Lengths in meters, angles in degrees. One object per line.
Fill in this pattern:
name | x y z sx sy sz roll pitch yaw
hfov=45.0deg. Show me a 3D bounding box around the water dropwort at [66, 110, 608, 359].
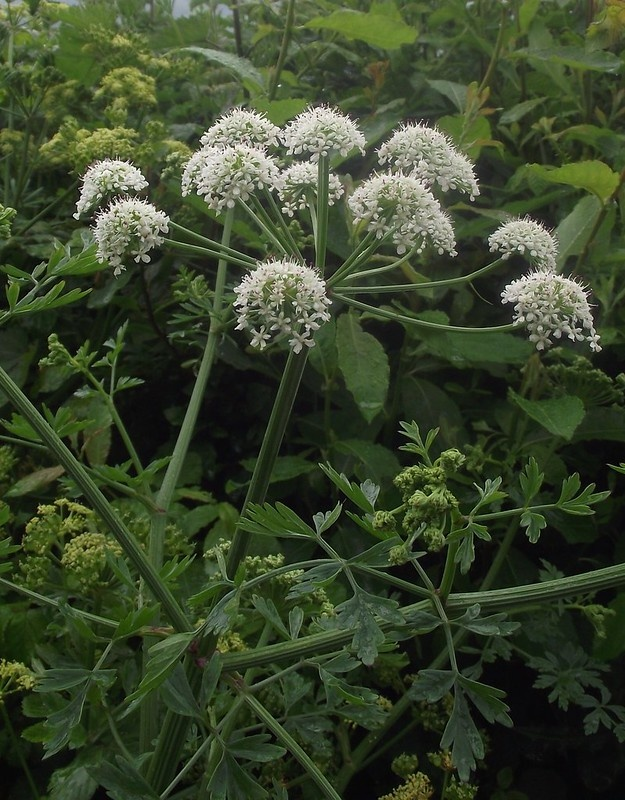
water dropwort | 0.041 -0.394 1.880 1.051 0.859 0.630 1 16 -5
